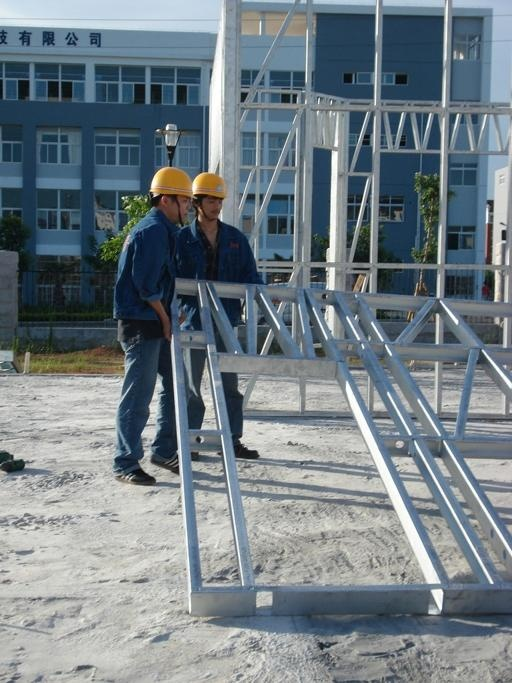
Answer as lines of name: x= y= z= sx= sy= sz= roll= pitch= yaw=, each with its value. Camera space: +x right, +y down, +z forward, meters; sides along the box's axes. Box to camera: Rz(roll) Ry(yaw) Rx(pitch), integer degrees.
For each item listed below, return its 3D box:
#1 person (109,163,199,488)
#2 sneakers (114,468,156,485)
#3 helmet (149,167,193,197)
person: x=-0.592 y=-0.074 z=4.680 sx=0.464 sy=1.754 sz=0.605 roll=0 pitch=8 yaw=11
sneakers: x=-0.657 y=0.741 z=4.644 sx=0.199 sy=0.086 sz=0.087 roll=-3 pitch=-8 yaw=28
helmet: x=-0.459 y=-0.884 z=4.710 sx=0.224 sy=0.134 sz=0.150 roll=-6 pitch=19 yaw=-24
